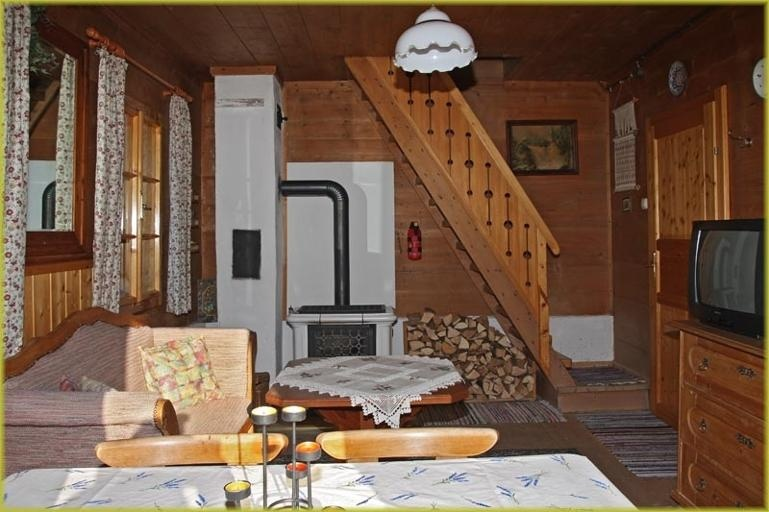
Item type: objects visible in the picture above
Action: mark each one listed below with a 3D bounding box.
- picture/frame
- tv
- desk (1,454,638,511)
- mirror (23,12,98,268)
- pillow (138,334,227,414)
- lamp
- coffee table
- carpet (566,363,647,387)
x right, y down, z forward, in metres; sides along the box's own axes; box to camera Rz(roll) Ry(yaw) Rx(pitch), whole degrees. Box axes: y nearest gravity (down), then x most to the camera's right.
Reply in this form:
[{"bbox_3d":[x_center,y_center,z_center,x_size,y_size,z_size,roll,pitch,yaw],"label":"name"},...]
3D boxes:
[{"bbox_3d":[1.827,-1.282,7.192,0.895,0.618,0.064,-1,-1,-3],"label":"picture/frame"},{"bbox_3d":[2.472,0.152,4.393,0.142,0.922,0.609,-2,0,-13],"label":"tv"},{"bbox_3d":[-0.309,1.197,3.143,3.086,0.249,0.321,-2,0,-1],"label":"desk"},{"bbox_3d":[-2.803,-0.940,5.328,0.337,1.862,0.726,-3,0,1],"label":"mirror"},{"bbox_3d":[-1.652,0.944,4.926,0.178,0.625,0.714,-22,8,35],"label":"pillow"},{"bbox_3d":[0.361,-1.561,4.554,0.584,0.370,0.537,-1,4,-3],"label":"lamp"},{"bbox_3d":[-0.108,1.105,4.902,1.481,0.497,0.930,-2,0,6],"label":"coffee table"},{"bbox_3d":[2.413,1.311,6.623,0.734,0.071,1.171,-2,0,12],"label":"carpet"}]
